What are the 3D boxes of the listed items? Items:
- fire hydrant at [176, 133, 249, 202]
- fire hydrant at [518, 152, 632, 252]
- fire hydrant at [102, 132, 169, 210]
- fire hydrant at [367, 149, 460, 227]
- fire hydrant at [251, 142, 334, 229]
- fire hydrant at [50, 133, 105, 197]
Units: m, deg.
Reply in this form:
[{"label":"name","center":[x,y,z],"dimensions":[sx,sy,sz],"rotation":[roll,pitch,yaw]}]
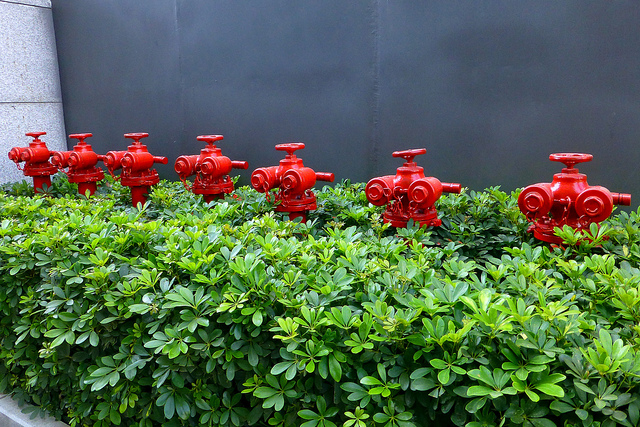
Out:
[{"label":"fire hydrant","center":[-0.988,-0.388,5.267],"dimensions":[0.664,0.584,0.506],"rotation":[5,11,24]},{"label":"fire hydrant","center":[1.798,-0.113,4.230],"dimensions":[0.696,0.667,0.606],"rotation":[3,8,33]},{"label":"fire hydrant","center":[-1.713,-0.366,5.519],"dimensions":[0.538,0.733,0.444],"rotation":[5,14,19]},{"label":"fire hydrant","center":[0.669,-0.197,4.516],"dimensions":[0.737,0.597,0.558],"rotation":[6,11,41]},{"label":"fire hydrant","center":[-0.234,-0.162,4.864],"dimensions":[0.663,0.842,0.555],"rotation":[6,19,29]},{"label":"fire hydrant","center":[-2.385,-0.444,5.813],"dimensions":[0.469,0.644,0.480],"rotation":[-4,12,-19]}]
